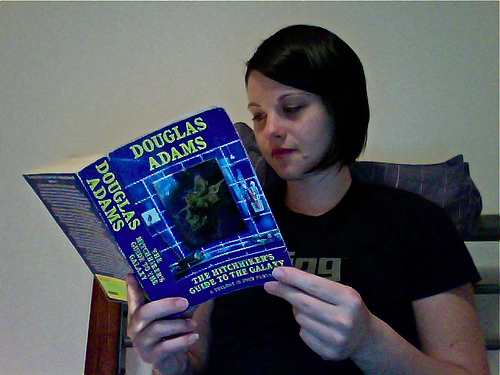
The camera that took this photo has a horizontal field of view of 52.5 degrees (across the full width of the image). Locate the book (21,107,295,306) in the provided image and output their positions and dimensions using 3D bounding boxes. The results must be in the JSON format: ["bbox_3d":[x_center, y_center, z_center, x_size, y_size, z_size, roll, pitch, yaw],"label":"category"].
[{"bbox_3d":[-0.164,0.056,1.169,0.589,0.486,0.133,-22,20,20],"label":"book"}]
